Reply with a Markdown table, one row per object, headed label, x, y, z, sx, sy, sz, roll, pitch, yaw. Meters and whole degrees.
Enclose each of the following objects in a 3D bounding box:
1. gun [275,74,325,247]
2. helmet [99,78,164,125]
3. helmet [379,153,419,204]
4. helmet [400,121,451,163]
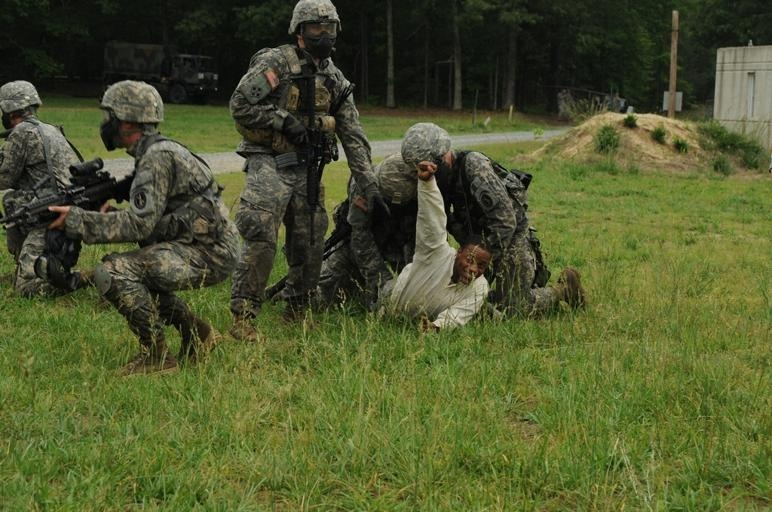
| label | x | y | z | sx | sy | sz | roll | pitch | yaw |
| --- | --- | --- | --- | --- | --- | --- | --- | --- | --- |
| gun | -1.007 | -1.192 | 9.858 | 0.239 | 2.011 | 0.810 | 0 | 3 | -20 |
| helmet | -2.652 | -1.615 | 8.954 | 0.601 | 0.447 | 0.310 | -7 | 14 | -26 |
| helmet | 0.141 | -0.912 | 10.056 | 0.458 | 0.676 | 0.356 | -9 | 3 | -5 |
| helmet | 0.466 | -1.260 | 9.676 | 0.574 | 0.481 | 0.463 | -4 | 13 | -16 |
